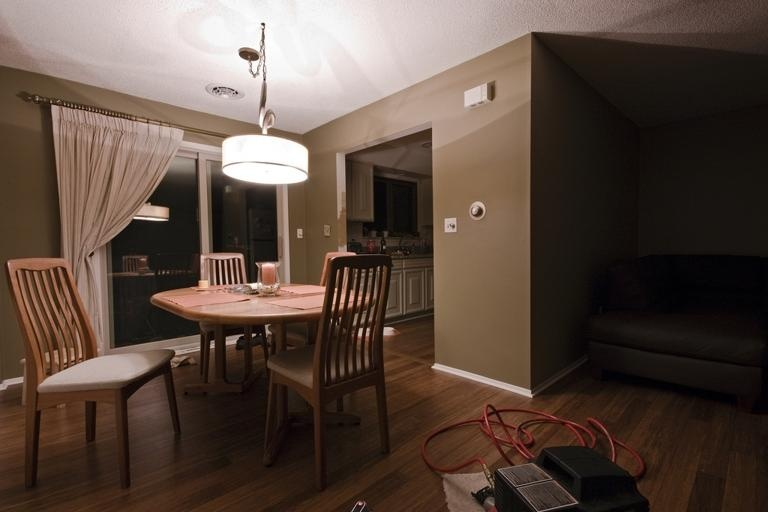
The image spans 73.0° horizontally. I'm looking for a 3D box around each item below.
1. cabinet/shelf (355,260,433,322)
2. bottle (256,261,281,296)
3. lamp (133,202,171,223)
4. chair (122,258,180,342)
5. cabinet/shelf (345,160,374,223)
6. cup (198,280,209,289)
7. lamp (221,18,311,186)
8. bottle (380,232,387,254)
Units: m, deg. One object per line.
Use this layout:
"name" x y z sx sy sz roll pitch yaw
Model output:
"cabinet/shelf" 0.144 0.346 7.180 0.666 0.871 1.257 5 6 44
"bottle" -0.988 0.196 4.356 0.233 0.281 0.235 -1 1 -17
"lamp" -2.501 -0.475 5.606 0.352 0.201 0.071 -4 3 -41
"chair" -2.828 0.518 5.808 0.750 0.872 0.753 0 -3 -40
"cabinet/shelf" -0.348 -0.890 7.022 0.151 0.795 0.563 0 3 30
"cup" -1.643 0.263 4.733 0.080 0.040 0.071 0 1 -24
"lamp" -1.073 -1.318 4.559 0.686 1.347 1.044 -2 3 -16
"bottle" -0.008 -0.209 7.659 0.072 0.321 0.244 -1 3 6
